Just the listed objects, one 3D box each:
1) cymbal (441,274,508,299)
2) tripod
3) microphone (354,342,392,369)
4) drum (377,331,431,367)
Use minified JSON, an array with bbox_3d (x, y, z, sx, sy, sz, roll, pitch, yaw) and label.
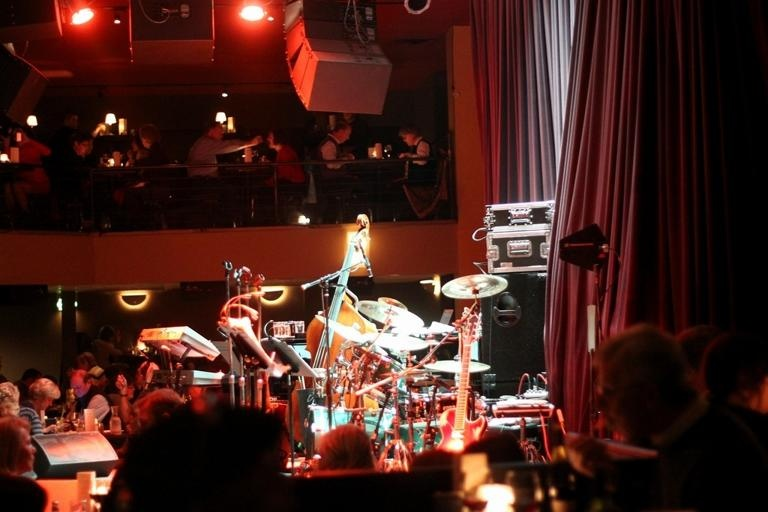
[{"bbox_3d":[0.829,0.279,7.594,0.323,0.080,0.329,-22,-35,31],"label":"cymbal"},{"bbox_3d":[0.068,1.446,7.435,0.883,1.084,0.672,2,-1,-41],"label":"tripod"},{"bbox_3d":[-0.079,0.920,7.708,0.240,0.108,0.273,22,-7,28],"label":"microphone"},{"bbox_3d":[0.175,0.931,7.683,0.417,0.172,0.429,3,14,-1],"label":"drum"}]
